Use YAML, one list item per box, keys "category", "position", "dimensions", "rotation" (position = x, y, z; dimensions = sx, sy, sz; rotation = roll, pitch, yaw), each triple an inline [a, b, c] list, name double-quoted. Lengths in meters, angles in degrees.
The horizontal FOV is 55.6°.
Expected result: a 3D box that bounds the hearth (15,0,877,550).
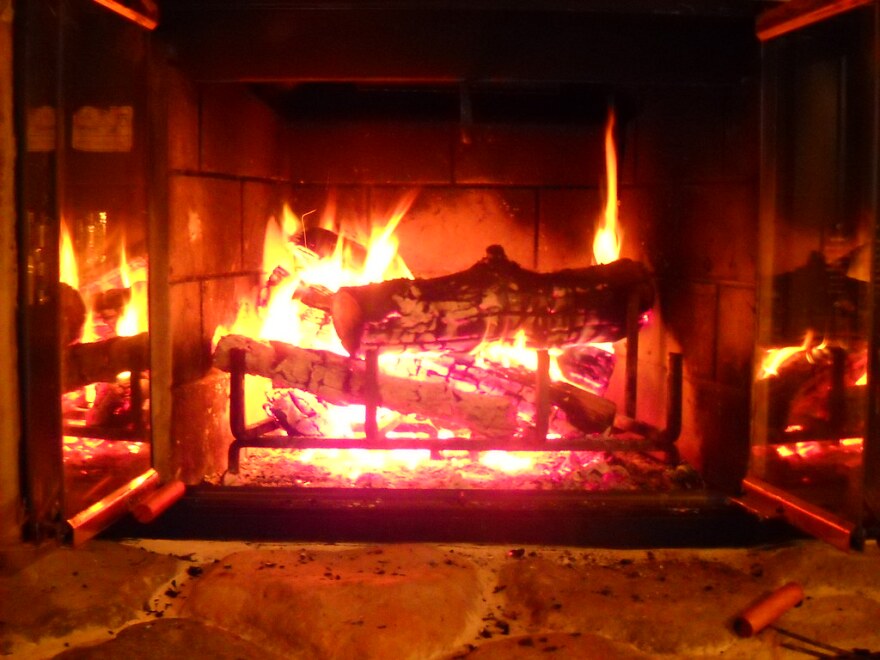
- category: "hearth"
  position: [0.033, -0.220, 3.234]
  dimensions: [2.695, 1.847, 1.436]
  rotation: [0, 4, -2]
